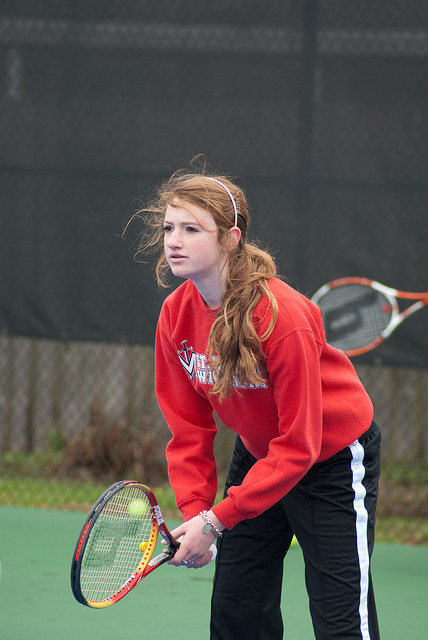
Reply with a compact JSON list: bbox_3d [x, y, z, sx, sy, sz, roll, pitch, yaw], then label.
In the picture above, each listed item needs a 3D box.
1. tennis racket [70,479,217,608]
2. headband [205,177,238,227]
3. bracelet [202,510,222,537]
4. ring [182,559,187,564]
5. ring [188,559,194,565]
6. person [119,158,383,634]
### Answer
[{"bbox_3d":[-0.244,0.596,1.944,0.105,0.300,0.448,14,-13,33],"label":"tennis racket"},{"bbox_3d":[0.034,-0.321,2.021,0.082,0.131,0.038,4,7,36],"label":"headband"},{"bbox_3d":[-0.007,0.537,1.935,0.043,0.060,0.035,0,6,5],"label":"bracelet"},{"bbox_3d":[-0.076,0.649,1.979,0.012,0.016,0.004,-7,0,-22],"label":"ring"},{"bbox_3d":[-0.060,0.657,2.001,0.014,0.004,0.013,33,2,-1],"label":"ring"},{"bbox_3d":[0.066,0.259,2.126,0.827,1.326,0.546,2,6,25],"label":"person"}]
